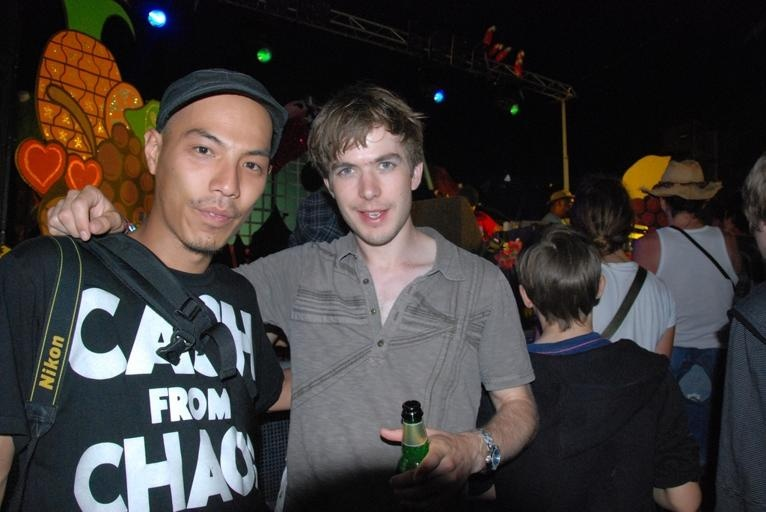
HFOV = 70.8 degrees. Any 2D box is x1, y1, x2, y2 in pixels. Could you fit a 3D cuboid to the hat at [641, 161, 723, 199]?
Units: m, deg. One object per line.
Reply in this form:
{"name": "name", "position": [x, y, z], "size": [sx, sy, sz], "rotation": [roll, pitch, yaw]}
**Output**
{"name": "hat", "position": [2.891, -0.708, 5.103], "size": [0.465, 0.190, 0.507], "rotation": [5, 16, 43]}

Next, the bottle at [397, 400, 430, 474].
{"name": "bottle", "position": [0.157, 0.917, 2.781], "size": [0.162, 0.379, 0.219], "rotation": [-4, -8, 0]}
